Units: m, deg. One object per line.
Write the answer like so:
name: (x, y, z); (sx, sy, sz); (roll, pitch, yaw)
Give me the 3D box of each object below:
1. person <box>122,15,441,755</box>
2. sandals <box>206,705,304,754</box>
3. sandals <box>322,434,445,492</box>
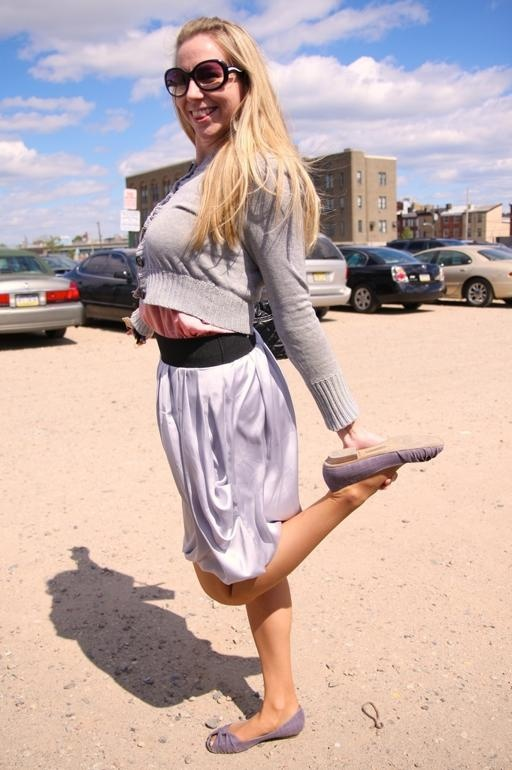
person: (-0.003, -0.160, 1.512); (0.626, 1.439, 0.369); (8, 14, 42)
sandals: (-0.015, 0.950, 1.701); (0.307, 0.108, 0.111); (-3, -3, -4)
sandals: (0.302, 0.171, 1.508); (0.251, 0.081, 0.124); (-15, 11, -2)
